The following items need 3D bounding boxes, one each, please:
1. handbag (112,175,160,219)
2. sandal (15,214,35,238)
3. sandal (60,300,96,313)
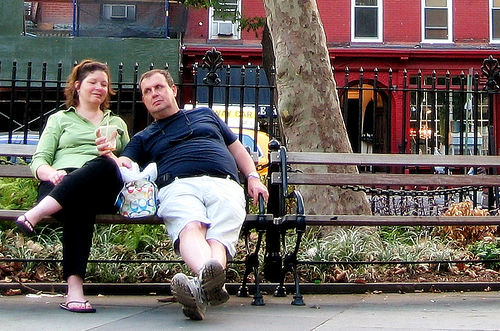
[{"bbox_3d":[-1.364,0.300,8.806,0.618,0.267,0.718,-1,22,-5],"label":"handbag"},{"bbox_3d":[-2.459,0.674,8.178,0.103,0.310,0.149,-48,10,-33],"label":"sandal"},{"bbox_3d":[-1.921,1.581,8.207,0.312,0.078,0.134,-2,-5,29],"label":"sandal"}]
